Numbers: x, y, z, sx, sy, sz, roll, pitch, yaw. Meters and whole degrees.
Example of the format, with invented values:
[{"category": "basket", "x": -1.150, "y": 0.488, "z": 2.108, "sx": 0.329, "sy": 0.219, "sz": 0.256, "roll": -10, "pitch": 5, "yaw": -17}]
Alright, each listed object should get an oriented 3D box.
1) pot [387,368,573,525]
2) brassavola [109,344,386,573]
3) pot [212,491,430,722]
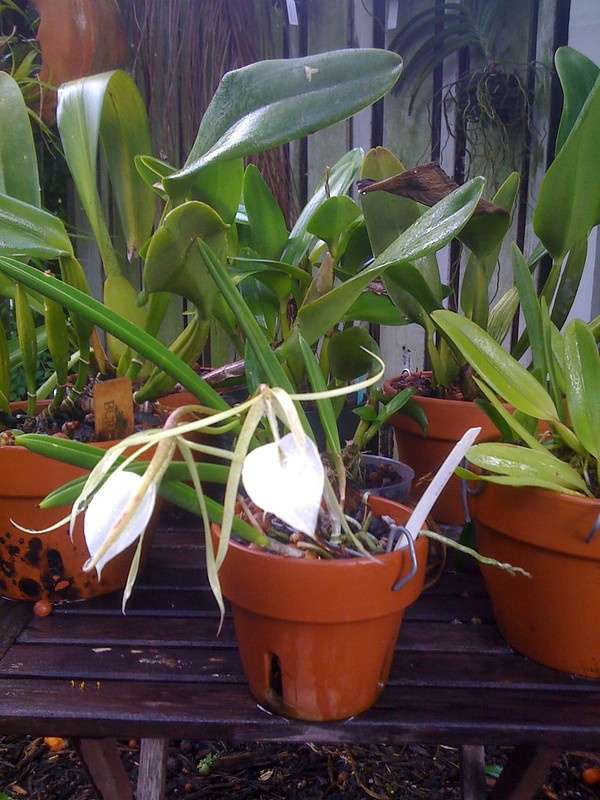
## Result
[{"category": "pot", "x": 0.207, "y": 0.046, "z": 0.922, "sx": 0.153, "sy": 0.126, "sz": 0.158, "roll": 0, "pitch": 9, "yaw": 0}, {"category": "brassavola", "x": -0.025, "y": 0.032, "z": 0.414, "sx": 0.136, "sy": 0.105, "sz": 0.192, "roll": 2, "pitch": 12, "yaw": 5}, {"category": "pot", "x": 0.025, "y": 0.143, "z": 0.580, "sx": 0.151, "sy": 0.142, "sz": 0.144, "roll": 2, "pitch": 12, "yaw": 0}]
